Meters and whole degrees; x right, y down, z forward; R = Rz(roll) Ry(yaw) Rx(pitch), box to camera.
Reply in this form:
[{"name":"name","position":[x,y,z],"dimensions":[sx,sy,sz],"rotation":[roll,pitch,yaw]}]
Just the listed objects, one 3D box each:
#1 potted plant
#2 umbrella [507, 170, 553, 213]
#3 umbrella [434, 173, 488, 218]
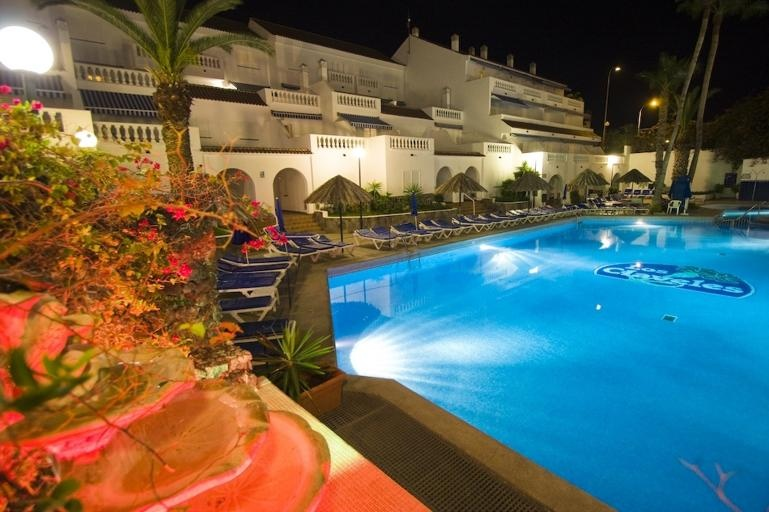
[{"name":"potted plant","position":[-1.367,1.894,7.124],"dimensions":[1.225,1.294,1.371],"rotation":[-7,6,15]},{"name":"umbrella","position":[7.660,-3.034,24.063],"dimensions":[2.603,2.529,2.691],"rotation":[5,5,41]},{"name":"umbrella","position":[3.656,-2.856,21.621],"dimensions":[2.423,2.116,2.411],"rotation":[2,9,11]}]
